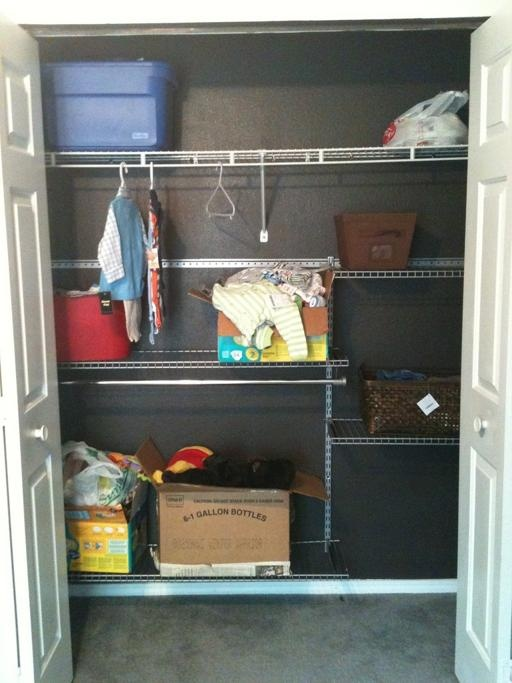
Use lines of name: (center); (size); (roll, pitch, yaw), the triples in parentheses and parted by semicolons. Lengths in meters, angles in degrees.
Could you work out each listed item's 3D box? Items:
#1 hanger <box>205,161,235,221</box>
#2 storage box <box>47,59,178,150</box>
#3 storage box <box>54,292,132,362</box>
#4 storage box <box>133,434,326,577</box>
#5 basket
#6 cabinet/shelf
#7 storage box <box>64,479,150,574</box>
hanger: (-0.143, -0.599, 2.557); (0.122, 0.212, 0.017); (-1, 9, -6)
storage box: (-0.523, -0.825, 2.221); (0.503, 0.300, 0.300); (0, 9, -2)
storage box: (-0.586, -0.038, 2.420); (0.325, 0.308, 0.237); (0, 4, -7)
storage box: (-0.128, 0.627, 2.451); (0.606, 0.380, 0.482); (0, 0, -3)
basket: (0.564, 0.232, 2.357); (0.338, 0.172, 0.218); (1, -3, 1)
cabinet/shelf: (-0.034, 0.052, 2.449); (1.854, 1.751, 0.596); (0, 4, -4)
storage box: (-0.557, 0.731, 2.505); (0.306, 0.306, 0.290); (0, -3, -1)
